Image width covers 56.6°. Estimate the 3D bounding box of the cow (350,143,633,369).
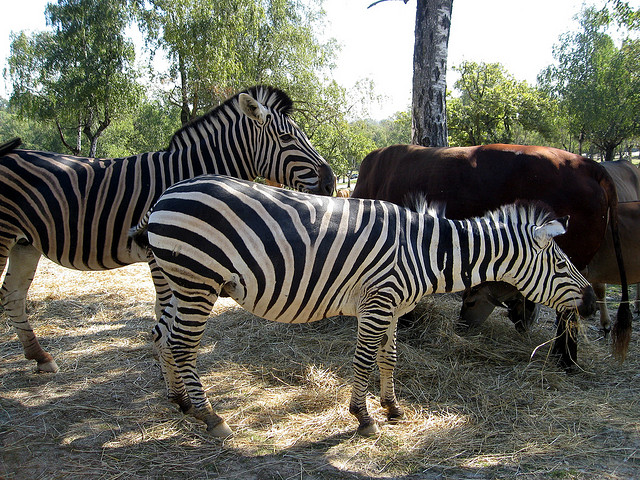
[{"bbox_3d":[1.604,-0.513,8.442,5.160,3.085,1.380,5,6,34],"label":"cow"}]
